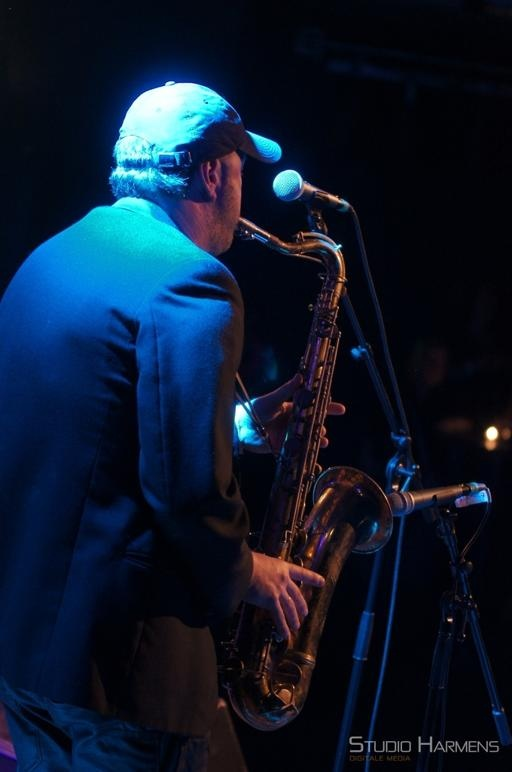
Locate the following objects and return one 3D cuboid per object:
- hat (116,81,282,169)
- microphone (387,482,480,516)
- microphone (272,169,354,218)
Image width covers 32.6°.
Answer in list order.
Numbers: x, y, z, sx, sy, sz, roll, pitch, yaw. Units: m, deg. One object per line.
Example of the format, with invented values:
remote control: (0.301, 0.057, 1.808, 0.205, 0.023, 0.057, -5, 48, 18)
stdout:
hat: (-0.156, -0.556, 2.013, 0.337, 0.263, 0.259, -7, 14, -44)
microphone: (0.547, 0.324, 2.744, 0.123, 0.127, 0.458, -10, -8, 42)
microphone: (0.170, -0.579, 2.688, 0.095, 0.101, 0.359, -5, 0, 24)
